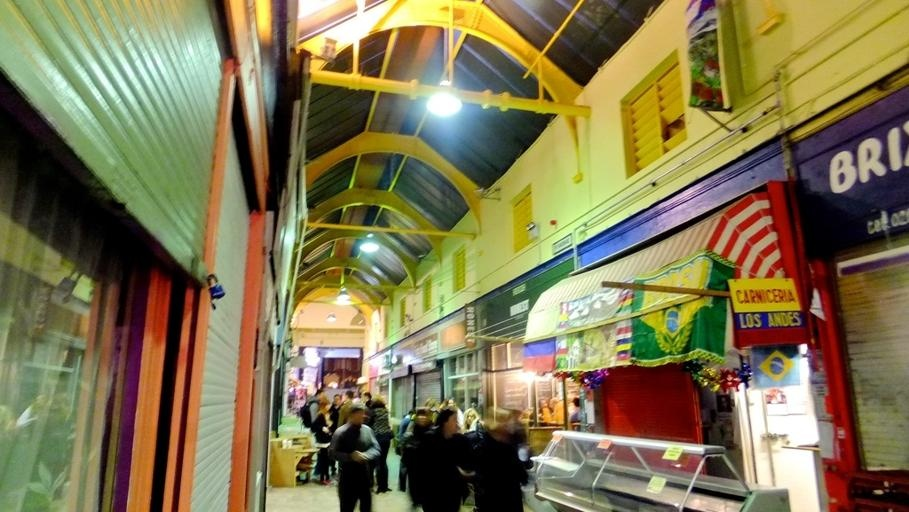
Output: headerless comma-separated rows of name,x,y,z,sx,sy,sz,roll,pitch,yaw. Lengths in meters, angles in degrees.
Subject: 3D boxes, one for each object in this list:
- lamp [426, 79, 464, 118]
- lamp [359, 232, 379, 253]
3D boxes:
lamp,-0.148,-2.551,9.185,0.484,0.575,0.459,0,-23,1
lamp,-3.005,-0.490,20.916,0.463,0.459,0.452,23,-41,-32
